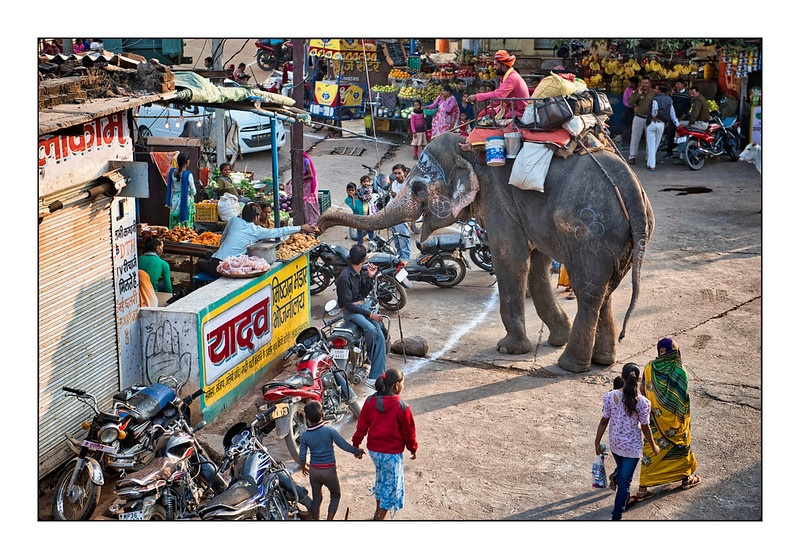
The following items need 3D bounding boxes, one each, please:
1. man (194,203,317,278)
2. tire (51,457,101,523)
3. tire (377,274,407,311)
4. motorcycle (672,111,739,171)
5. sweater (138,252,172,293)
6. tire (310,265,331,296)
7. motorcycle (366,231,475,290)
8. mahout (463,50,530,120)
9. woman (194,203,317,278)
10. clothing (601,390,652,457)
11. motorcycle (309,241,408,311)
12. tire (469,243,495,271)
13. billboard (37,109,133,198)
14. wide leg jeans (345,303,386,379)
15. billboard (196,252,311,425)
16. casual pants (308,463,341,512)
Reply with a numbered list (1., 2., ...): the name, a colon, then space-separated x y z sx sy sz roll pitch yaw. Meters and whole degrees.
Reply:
1. man: -2.233 -0.561 9.593 2.201 0.941 0.649 -3 22 -9
2. tire: -3.183 2.084 6.520 0.568 0.629 0.324 6 14 20
3. tire: -0.157 0.210 11.265 0.655 0.661 0.146 0 22 7
4. motorcycle: 8.889 -4.088 18.976 2.590 1.517 1.133 -18 12 -28
5. sweater: -3.316 -0.075 8.903 0.532 0.432 0.179 14 36 14
6. tire: -1.481 0.008 12.200 0.595 0.606 0.105 -2 13 -9
7. motorcycle: 0.230 -0.399 12.535 2.122 1.305 1.151 -3 11 13
8. mahout: 1.528 -2.895 10.109 0.987 1.110 0.801 -3 21 13
9. woman: -2.146 -0.437 9.656 1.261 0.630 1.257 25 29 23
10. clothing: 2.280 1.462 6.737 0.436 0.656 0.249 6 15 19
11. motorcycle: -0.729 -0.040 11.700 1.780 1.059 1.058 19 38 20
12. tire: 1.563 -0.446 12.613 0.599 0.592 0.156 3 32 18
13. billboard: -3.558 -1.401 7.393 0.026 0.471 1.421 9 27 22
14. wide leg jeans: -0.371 0.836 9.022 0.657 0.639 0.999 1 21 12
15. billboard: -1.968 0.807 8.643 0.034 0.966 2.121 8 26 23
16. casual pants: -0.758 2.144 6.765 0.306 0.716 0.225 2 12 -8
